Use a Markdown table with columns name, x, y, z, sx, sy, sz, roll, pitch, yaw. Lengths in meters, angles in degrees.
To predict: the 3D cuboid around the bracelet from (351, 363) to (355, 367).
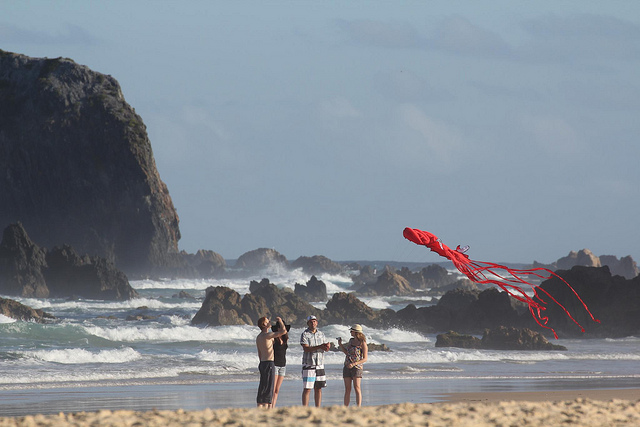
| name | x | y | z | sx | sy | sz | roll | pitch | yaw |
| --- | --- | --- | --- | --- | --- | --- | --- | --- | --- |
| bracelet | 2.870 | 13.029 | 123.910 | 0.253 | 0.268 | 0.071 | -6 | -8 | 19 |

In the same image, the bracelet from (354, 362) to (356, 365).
| name | x | y | z | sx | sy | sz | roll | pitch | yaw |
| --- | --- | --- | --- | --- | --- | --- | --- | --- | --- |
| bracelet | 3.036 | 12.920 | 123.902 | 0.235 | 0.241 | 0.062 | 28 | 5 | 3 |
